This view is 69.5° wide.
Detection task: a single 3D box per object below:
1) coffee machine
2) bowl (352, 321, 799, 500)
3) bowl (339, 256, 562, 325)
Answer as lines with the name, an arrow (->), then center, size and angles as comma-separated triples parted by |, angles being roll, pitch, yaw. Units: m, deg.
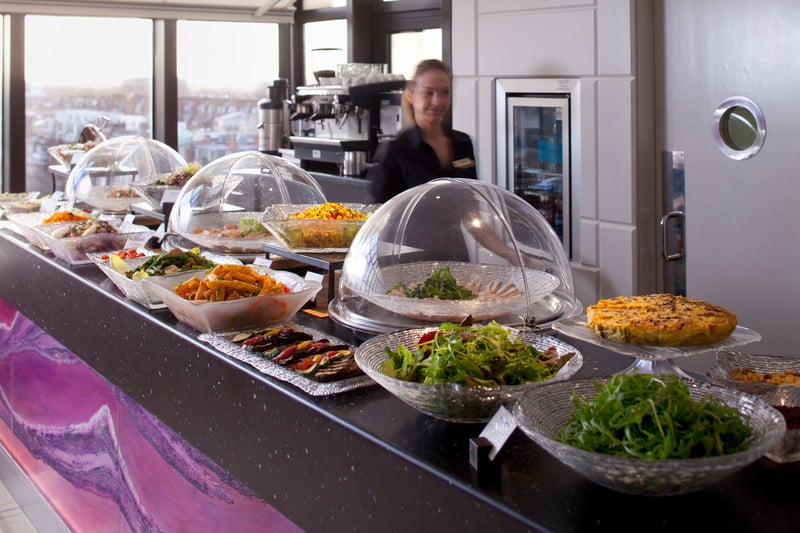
coffee machine -> -0.490, -1.233, 5.143 | 0.636, 0.791, 1.101 | -3, 13, -36
bowl -> 0.275, 0.264, 1.014 | 0.510, 0.086, 0.375 | 5, 8, 40
bowl -> 0.154, 0.037, 1.802 | 0.723, 0.155, 0.730 | 1, 3, 0
